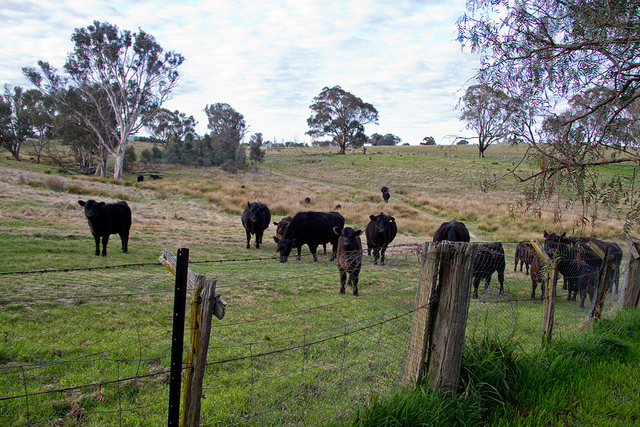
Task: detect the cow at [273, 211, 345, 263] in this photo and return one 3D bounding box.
[{"bbox_3d":[-0.290,0.875,16.481,1.126,1.831,3.476,8,8,36],"label":"cow"}]

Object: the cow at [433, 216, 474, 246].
[{"bbox_3d":[4.868,0.598,15.955,0.968,1.270,2.486,-2,-5,16],"label":"cow"}]

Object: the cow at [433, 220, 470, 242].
[{"bbox_3d":[4.283,0.630,14.515,0.797,1.108,2.190,-1,-3,15],"label":"cow"}]

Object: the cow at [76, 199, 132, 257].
[{"bbox_3d":[-6.816,0.395,14.168,1.170,1.606,2.203,2,3,-3],"label":"cow"}]

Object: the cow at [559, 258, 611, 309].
[{"bbox_3d":[7.703,1.916,13.386,0.512,1.004,1.947,2,8,-9],"label":"cow"}]

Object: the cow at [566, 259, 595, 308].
[{"bbox_3d":[7.643,1.991,12.997,0.655,1.303,1.333,4,4,27],"label":"cow"}]

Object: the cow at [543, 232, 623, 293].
[{"bbox_3d":[7.863,1.632,13.189,3.536,1.803,0.835,-8,3,-27],"label":"cow"}]

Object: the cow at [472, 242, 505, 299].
[{"bbox_3d":[5.046,1.621,13.104,0.861,1.577,1.551,3,3,22],"label":"cow"}]

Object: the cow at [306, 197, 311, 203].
[{"bbox_3d":[-0.757,-0.849,29.282,0.292,0.288,0.342,2,3,8],"label":"cow"}]
